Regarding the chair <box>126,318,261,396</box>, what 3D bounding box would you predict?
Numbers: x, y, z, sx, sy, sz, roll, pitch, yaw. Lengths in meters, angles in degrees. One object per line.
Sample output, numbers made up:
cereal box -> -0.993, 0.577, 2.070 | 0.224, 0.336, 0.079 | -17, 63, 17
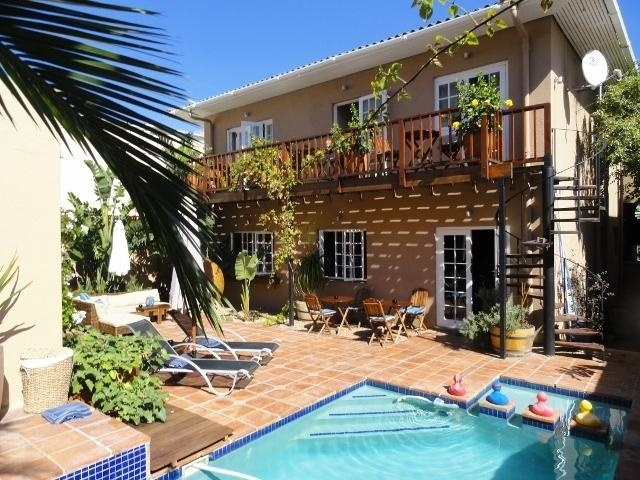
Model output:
chair -> -1.959, 1.868, 8.004 | 1.886, 1.072, 0.873 | -1, 0, 6

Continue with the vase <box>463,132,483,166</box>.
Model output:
vase -> 3.122, -1.921, 10.272 | 0.304, 0.606, 0.591 | 0, 9, 8

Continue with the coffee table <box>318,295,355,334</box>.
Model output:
coffee table -> 0.450, 1.881, 12.389 | 0.678, 0.831, 0.767 | 0, -4, 4

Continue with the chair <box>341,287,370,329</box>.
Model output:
chair -> 0.838, 1.637, 12.613 | 0.627, 1.299, 0.915 | -2, -5, 37

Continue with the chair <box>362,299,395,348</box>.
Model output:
chair -> 1.307, 1.764, 10.794 | 0.757, 1.016, 0.557 | 2, -4, -43

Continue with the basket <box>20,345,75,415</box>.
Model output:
basket -> -3.296, 1.733, 6.216 | 0.572, 0.746, 0.684 | 0, 1, -26

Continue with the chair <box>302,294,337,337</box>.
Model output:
chair -> -0.079, 1.778, 12.269 | 0.919, 1.352, 0.732 | 0, 2, -38

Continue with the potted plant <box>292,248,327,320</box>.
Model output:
potted plant -> -0.599, 1.124, 14.237 | 0.995, 1.985, 0.943 | 4, -6, 37

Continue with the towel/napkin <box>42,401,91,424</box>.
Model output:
towel/napkin -> -2.984, 2.056, 5.918 | 0.534, 0.090, 0.357 | -5, 10, -28

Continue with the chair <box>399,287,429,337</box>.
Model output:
chair -> 2.225, 1.673, 11.708 | 0.492, 0.978, 0.637 | 1, 6, 40

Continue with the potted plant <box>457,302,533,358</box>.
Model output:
potted plant -> 3.561, 1.757, 10.039 | 0.884, 0.541, 1.210 | 1, -4, 2

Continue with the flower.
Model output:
flower -> 3.214, -2.773, 10.165 | 0.927, 1.201, 0.694 | 4, 9, 27

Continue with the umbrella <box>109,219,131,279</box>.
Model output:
umbrella -> -5.222, 0.194, 12.958 | 0.484, 1.382, 0.590 | -5, 9, -24
